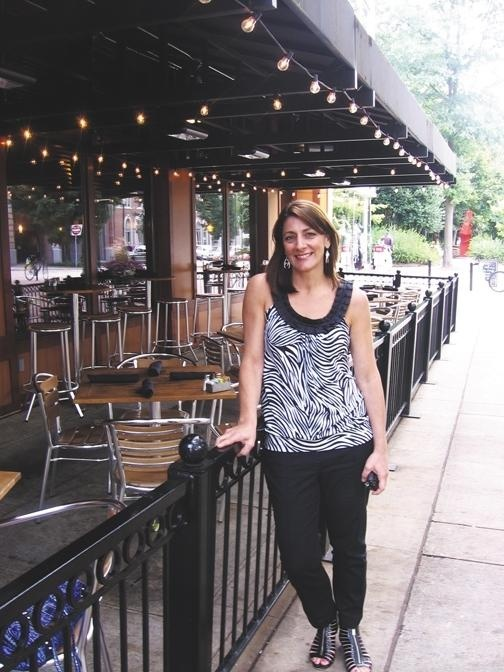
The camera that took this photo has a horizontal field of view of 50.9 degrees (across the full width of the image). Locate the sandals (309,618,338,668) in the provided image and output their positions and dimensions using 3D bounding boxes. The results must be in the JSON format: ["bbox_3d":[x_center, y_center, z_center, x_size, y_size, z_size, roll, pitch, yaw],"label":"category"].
[{"bbox_3d":[0.295,1.199,2.121,0.091,0.099,0.260,-2,-2,12],"label":"sandals"}]
